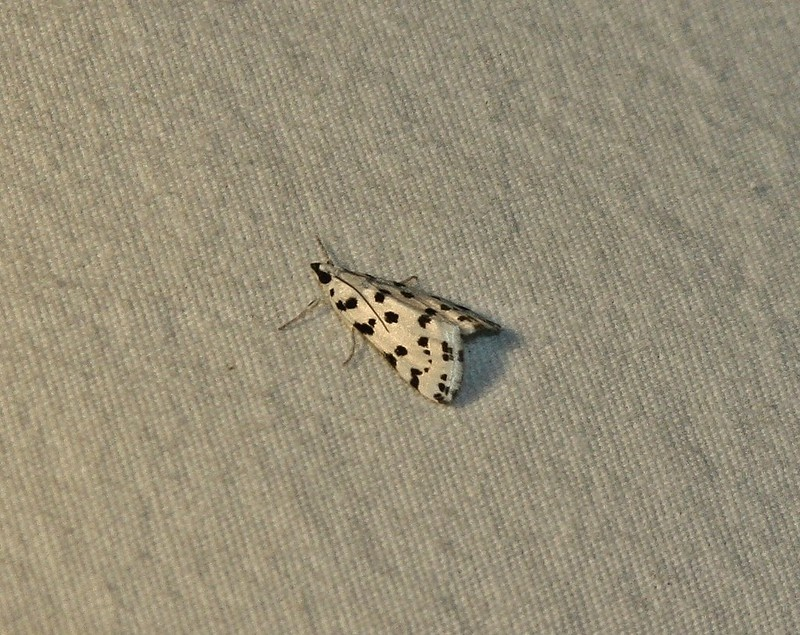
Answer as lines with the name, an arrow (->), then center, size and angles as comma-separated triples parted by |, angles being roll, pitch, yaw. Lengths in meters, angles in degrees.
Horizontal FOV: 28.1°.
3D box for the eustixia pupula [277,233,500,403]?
eustixia pupula -> -0.054, 0.004, 5.068 | 0.649, 0.125, 0.349 | 25, 83, 2
